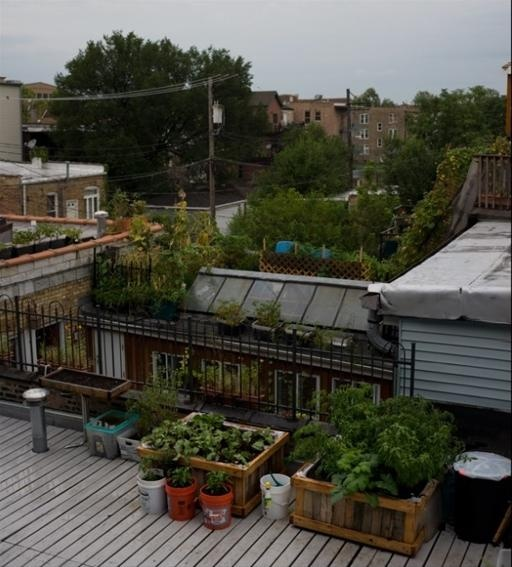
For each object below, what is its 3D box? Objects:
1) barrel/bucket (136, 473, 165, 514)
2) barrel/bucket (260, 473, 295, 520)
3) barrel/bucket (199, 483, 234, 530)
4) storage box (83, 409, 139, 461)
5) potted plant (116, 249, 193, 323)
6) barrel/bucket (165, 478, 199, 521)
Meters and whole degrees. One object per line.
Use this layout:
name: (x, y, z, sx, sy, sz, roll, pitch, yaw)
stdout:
barrel/bucket: (-0.940, 1.930, 6.327, 0.276, 0.308, 0.298, -1, 13, 0)
barrel/bucket: (0.188, 1.960, 6.380, 0.316, 0.316, 0.303, -1, 2, 0)
barrel/bucket: (-0.344, 1.987, 6.181, 0.287, 0.301, 0.316, 2, 3, -6)
storage box: (-1.559, 1.585, 7.614, 0.384, 0.433, 0.561, 6, 12, 26)
potted plant: (-1.908, -0.033, 13.793, 1.343, 1.022, 1.988, -3, 14, -2)
barrel/bucket: (-0.664, 1.955, 6.224, 0.283, 0.285, 0.303, 0, 9, 0)
